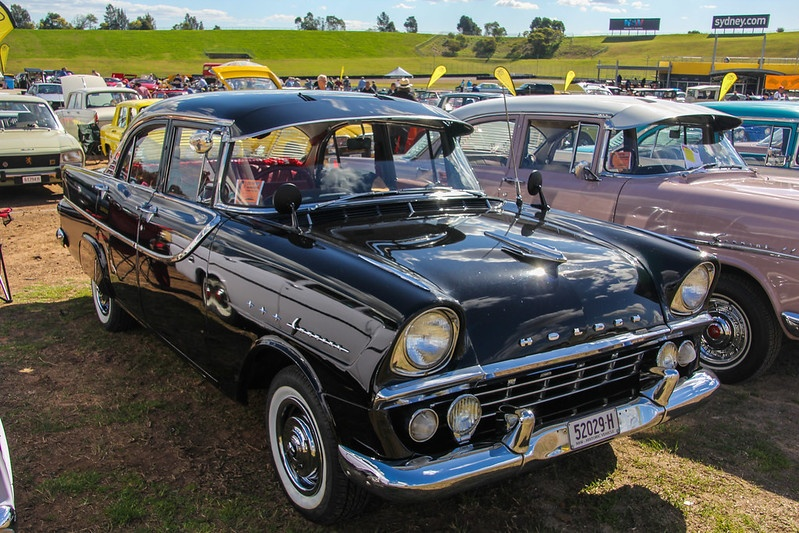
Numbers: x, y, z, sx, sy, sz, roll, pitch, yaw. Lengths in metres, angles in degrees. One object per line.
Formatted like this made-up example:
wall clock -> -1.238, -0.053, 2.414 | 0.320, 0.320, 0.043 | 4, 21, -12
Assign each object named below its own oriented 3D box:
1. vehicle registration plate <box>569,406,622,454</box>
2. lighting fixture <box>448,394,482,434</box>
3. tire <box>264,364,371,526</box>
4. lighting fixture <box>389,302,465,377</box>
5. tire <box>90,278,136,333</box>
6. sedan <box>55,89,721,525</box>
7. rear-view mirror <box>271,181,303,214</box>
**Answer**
vehicle registration plate -> 1.124, 0.939, 2.795 | 0.441, 0.176, 0.026 | -4, -3, -30
lighting fixture -> 0.336, 0.770, 2.524 | 0.238, 0.220, 0.042 | 14, 0, -32
tire -> -0.531, 1.049, 2.855 | 0.295, 0.900, 0.782 | -16, 28, -33
lighting fixture -> 0.129, 0.383, 2.413 | 0.426, 0.111, 0.452 | -23, 30, 15
tire -> -2.827, 0.391, 4.814 | 0.217, 0.514, 0.597 | -8, 12, -44
sedan -> -0.893, -0.576, 4.734 | 2.940, 1.889, 5.956 | -18, 33, -40
rear-view mirror -> -0.750, -0.452, 3.212 | 0.272, 0.223, 0.135 | -12, 7, -16
